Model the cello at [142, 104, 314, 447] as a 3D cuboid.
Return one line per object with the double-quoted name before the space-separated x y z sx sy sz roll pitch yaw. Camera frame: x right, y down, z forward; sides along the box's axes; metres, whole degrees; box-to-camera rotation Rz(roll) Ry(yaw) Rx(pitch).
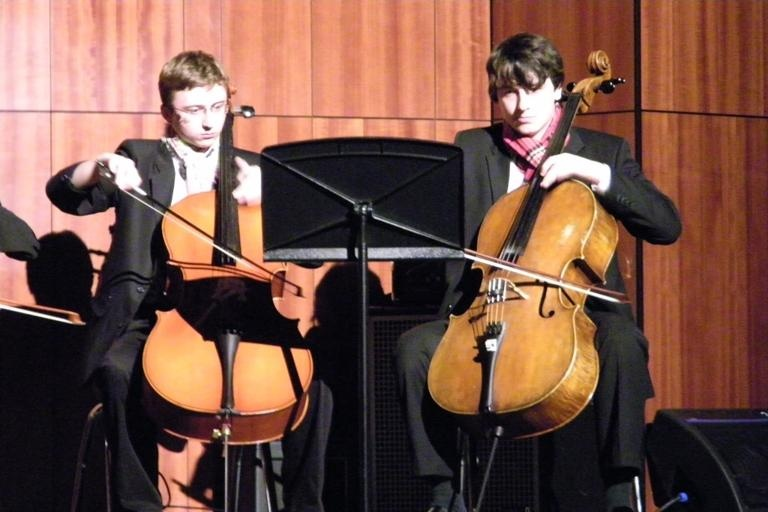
"cello" -0.755 0.006 6.692 0.702 1.792 0.448 5 -27 -14
